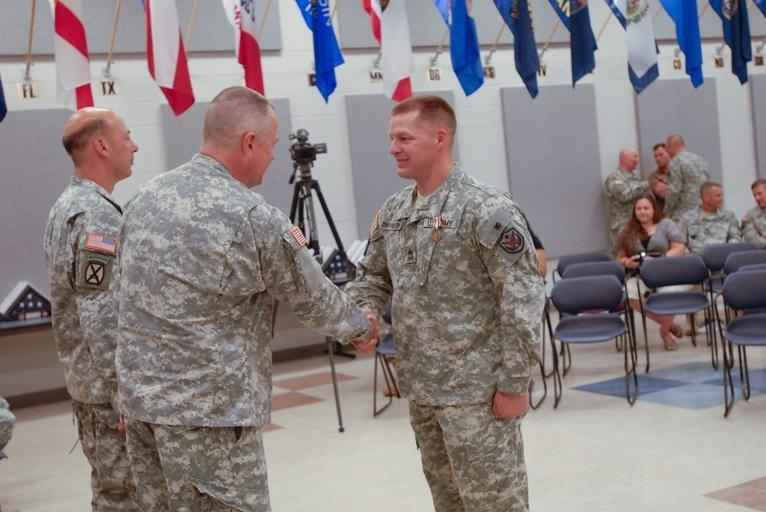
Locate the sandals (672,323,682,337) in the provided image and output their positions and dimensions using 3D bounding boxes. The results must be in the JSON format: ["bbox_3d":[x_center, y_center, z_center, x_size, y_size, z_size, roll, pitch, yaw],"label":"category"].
[{"bbox_3d":[3.308,0.811,8.498,0.070,0.096,0.257,5,24,6],"label":"sandals"}]

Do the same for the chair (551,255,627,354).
[{"bbox_3d":[2.402,0.833,8.523,0.821,0.986,0.733,-8,19,6],"label":"chair"}]
